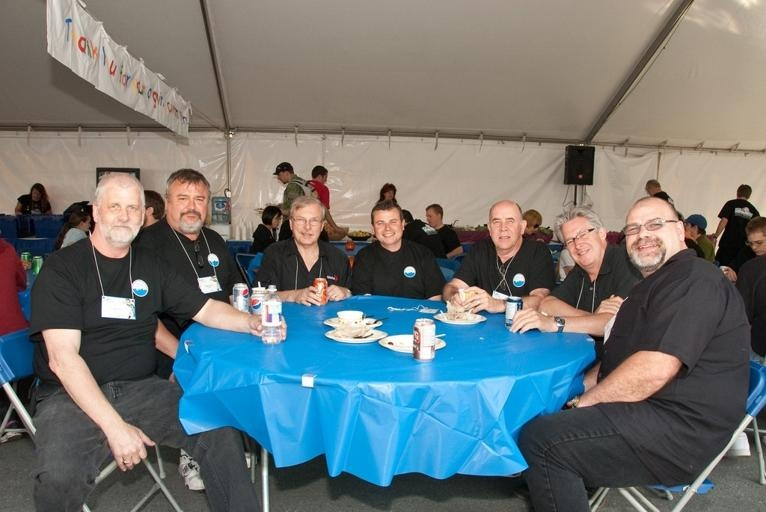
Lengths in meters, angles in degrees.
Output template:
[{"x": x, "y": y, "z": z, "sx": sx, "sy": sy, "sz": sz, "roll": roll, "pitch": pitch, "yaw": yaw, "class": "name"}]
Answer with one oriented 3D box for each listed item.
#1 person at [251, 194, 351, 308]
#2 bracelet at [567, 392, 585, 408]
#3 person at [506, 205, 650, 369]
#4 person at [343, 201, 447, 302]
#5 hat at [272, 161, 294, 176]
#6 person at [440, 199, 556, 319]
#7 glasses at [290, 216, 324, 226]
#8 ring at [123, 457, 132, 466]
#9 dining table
[{"x": -0.629, "y": -0.014, "z": 4.562, "sx": 0.785, "sy": 0.892, "sz": 0.597, "roll": 4, "pitch": -3, "yaw": -23, "class": "person"}, {"x": 1.099, "y": 0.839, "z": 3.301, "sx": 0.057, "sy": 0.035, "sz": 0.080, "roll": 16, "pitch": 35, "yaw": 31, "class": "bracelet"}, {"x": 1.194, "y": 0.151, "z": 3.921, "sx": 1.035, "sy": 1.044, "sz": 0.796, "roll": -9, "pitch": 3, "yaw": -29, "class": "person"}, {"x": 0.083, "y": -0.004, "z": 4.846, "sx": 0.830, "sy": 0.886, "sz": 0.544, "roll": -4, "pitch": 10, "yaw": 15, "class": "person"}, {"x": -1.517, "y": -1.309, "z": 8.437, "sx": 0.330, "sy": 0.185, "sz": 0.254, "roll": 4, "pitch": 7, "yaw": 6, "class": "hat"}, {"x": 0.868, "y": -0.004, "z": 4.370, "sx": 0.707, "sy": 0.701, "sz": 0.961, "roll": 0, "pitch": 6, "yaw": 27, "class": "person"}, {"x": -0.603, "y": -0.287, "z": 4.505, "sx": 0.246, "sy": 0.078, "sz": 0.117, "roll": -1, "pitch": 7, "yaw": -15, "class": "glasses"}, {"x": -1.411, "y": 1.138, "z": 3.147, "sx": 0.046, "sy": 0.024, "sz": 0.046, "roll": 0, "pitch": -14, "yaw": 0, "class": "ring"}, {"x": -0.021, "y": 0.765, "z": 3.304, "sx": 2.266, "sy": 0.599, "sz": 1.123, "roll": 2, "pitch": 7, "yaw": 12, "class": "dining table"}]
